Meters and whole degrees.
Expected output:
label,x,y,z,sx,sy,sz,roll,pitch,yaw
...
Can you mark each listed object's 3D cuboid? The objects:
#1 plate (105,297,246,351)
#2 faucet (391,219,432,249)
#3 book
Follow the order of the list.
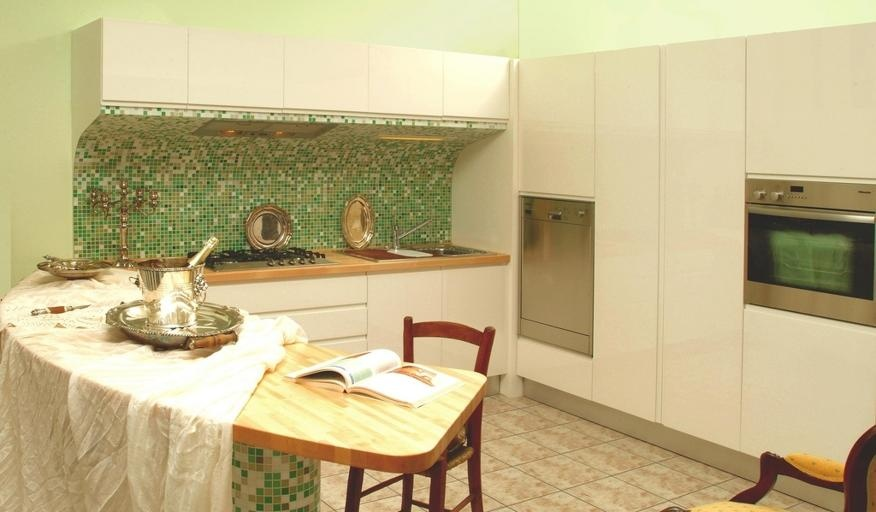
label,x,y,z,sx,sy,sz,roll,pitch,yaw
plate,-1.328,0.357,3.044,0.415,0.052,0.347,4,7,12
faucet,-0.235,-0.213,5.804,0.491,0.252,0.191,-7,11,-39
book,-0.345,0.587,2.926,0.445,0.058,0.304,9,13,33
